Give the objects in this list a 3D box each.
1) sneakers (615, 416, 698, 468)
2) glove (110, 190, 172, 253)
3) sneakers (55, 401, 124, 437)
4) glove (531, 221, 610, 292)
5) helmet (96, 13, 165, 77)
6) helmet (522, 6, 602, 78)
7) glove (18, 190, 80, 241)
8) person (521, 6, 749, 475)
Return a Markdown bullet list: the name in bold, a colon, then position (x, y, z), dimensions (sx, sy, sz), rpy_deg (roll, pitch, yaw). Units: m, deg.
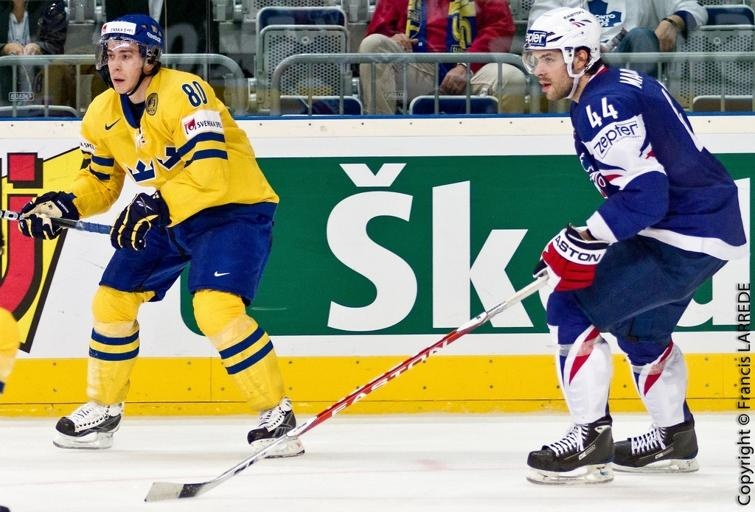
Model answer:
- **sneakers**: position (1.218, 0.866, 6.298), dimensions (0.485, 0.258, 0.167), rpy_deg (1, 4, 3)
- **glove**: position (-1.105, -0.157, 6.231), dimensions (0.210, 0.299, 0.110), rpy_deg (43, 19, 10)
- **sneakers**: position (-1.387, 0.790, 6.523), dimensions (0.377, 0.162, 0.121), rpy_deg (-4, 50, -30)
- **glove**: position (0.867, -0.011, 5.955), dimensions (0.320, 0.230, 0.136), rpy_deg (-29, 14, 26)
- **helmet**: position (-1.131, -0.996, 6.389), dimensions (0.329, 0.286, 0.253), rpy_deg (0, 1, -41)
- **helmet**: position (0.793, -0.973, 5.970), dimensions (0.355, 0.290, 0.260), rpy_deg (-3, 11, -5)
- **glove**: position (-1.568, -0.192, 6.560), dimensions (0.263, 0.203, 0.125), rpy_deg (-28, -10, -7)
- **person**: position (1.123, -0.040, 6.014), dimensions (0.931, 2.063, 0.526), rpy_deg (0, 14, 1)
